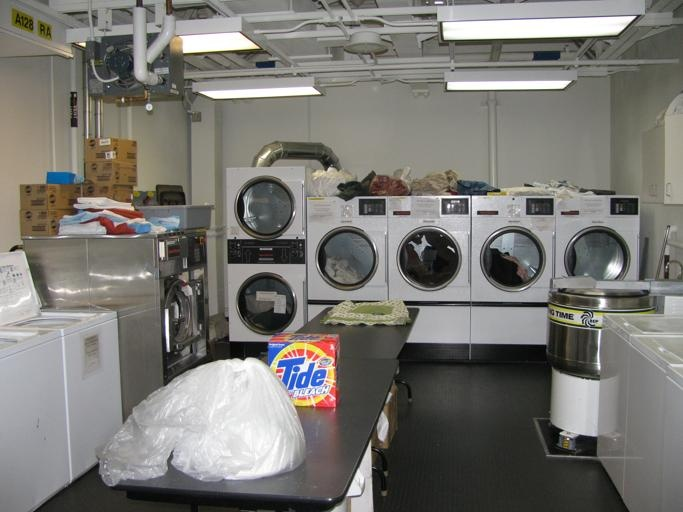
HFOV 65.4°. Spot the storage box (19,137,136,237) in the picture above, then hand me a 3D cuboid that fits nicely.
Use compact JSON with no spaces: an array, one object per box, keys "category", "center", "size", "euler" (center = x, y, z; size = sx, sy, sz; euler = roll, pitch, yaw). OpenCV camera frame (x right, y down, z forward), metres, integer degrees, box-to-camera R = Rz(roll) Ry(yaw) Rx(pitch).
[{"category":"storage box","center":[-2.669,-0.731,5.448],"size":[0.575,0.941,1.086],"euler":[5,11,32]}]

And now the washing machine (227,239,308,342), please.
[{"category":"washing machine","center":[-0.798,0.392,6.568],"size":[1.067,1.659,1.054],"euler":[0,1,4]}]

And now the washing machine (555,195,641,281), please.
[{"category":"washing machine","center":[2.764,-0.216,5.711],"size":[0.843,1.284,0.667],"euler":[0,-1,6]}]
